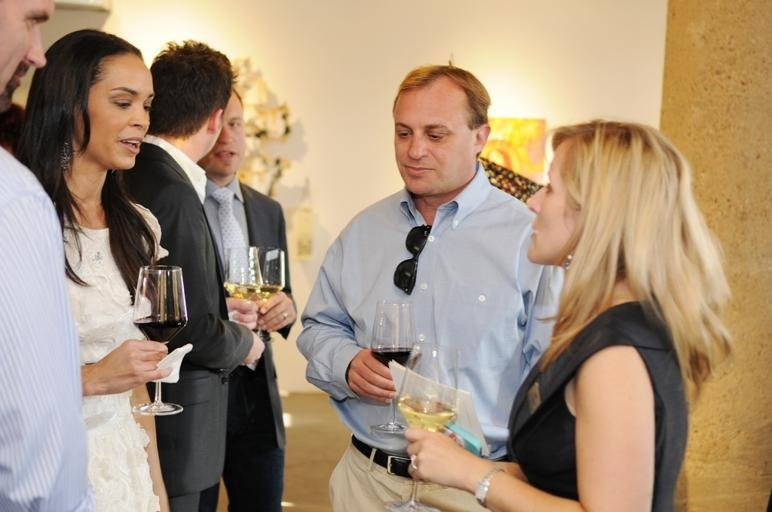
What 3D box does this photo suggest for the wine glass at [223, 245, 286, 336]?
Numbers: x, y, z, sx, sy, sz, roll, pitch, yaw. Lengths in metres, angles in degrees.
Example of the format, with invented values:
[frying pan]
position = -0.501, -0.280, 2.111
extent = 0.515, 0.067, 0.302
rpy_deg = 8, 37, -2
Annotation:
[wine glass]
position = -0.565, 0.085, 2.868
extent = 0.242, 0.252, 0.232
rpy_deg = 2, -4, -2

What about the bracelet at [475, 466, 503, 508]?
[bracelet]
position = 0.272, 0.637, 1.817
extent = 0.027, 0.098, 0.092
rpy_deg = 22, 26, -9

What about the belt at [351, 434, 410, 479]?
[belt]
position = -0.024, 0.778, 2.499
extent = 0.181, 0.046, 0.137
rpy_deg = 21, -2, 26

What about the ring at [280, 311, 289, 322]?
[ring]
position = -0.495, 0.290, 3.171
extent = 0.030, 0.029, 0.031
rpy_deg = -15, -26, -7
